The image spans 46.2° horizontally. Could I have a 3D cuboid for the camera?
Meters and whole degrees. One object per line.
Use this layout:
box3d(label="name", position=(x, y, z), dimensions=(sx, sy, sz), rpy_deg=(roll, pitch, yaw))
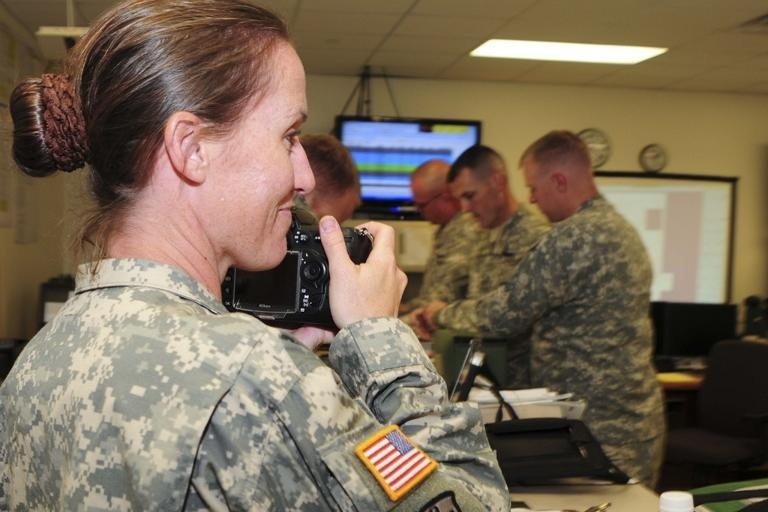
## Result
box3d(label="camera", position=(-0.167, 0.062, 2.244), dimensions=(0.447, 0.223, 0.320), rpy_deg=(5, 3, 29))

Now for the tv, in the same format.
box3d(label="tv", position=(0.089, -0.298, 2.918), dimensions=(0.481, 0.252, 0.043), rpy_deg=(1, 1, 3))

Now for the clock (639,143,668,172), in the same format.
box3d(label="clock", position=(0.855, -0.308, 2.845), dimensions=(0.103, 0.082, 0.022), rpy_deg=(9, -9, -9))
